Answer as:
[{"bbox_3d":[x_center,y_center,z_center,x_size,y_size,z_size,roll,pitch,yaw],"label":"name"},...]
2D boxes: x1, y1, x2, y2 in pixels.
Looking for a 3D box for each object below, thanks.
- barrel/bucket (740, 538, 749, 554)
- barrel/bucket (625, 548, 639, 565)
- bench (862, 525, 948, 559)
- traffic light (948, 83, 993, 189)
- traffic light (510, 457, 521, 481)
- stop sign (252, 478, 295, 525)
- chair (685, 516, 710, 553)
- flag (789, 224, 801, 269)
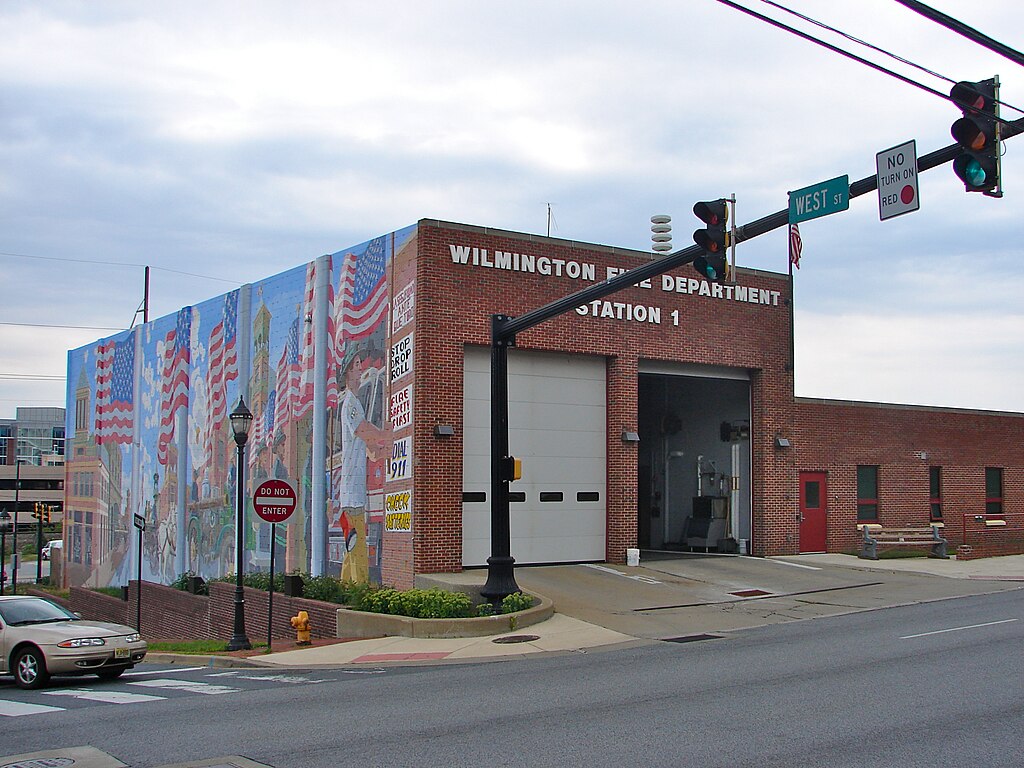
[{"bbox_3d":[7.433,5.168,32.856,0.301,0.466,0.199,-3,-3,26],"label":"barrel/bucket"},{"bbox_3d":[3.437,4.952,29.506,0.256,0.452,0.465,-4,-6,37],"label":"barrel/bucket"},{"bbox_3d":[13.021,5.208,34.352,3.779,1.204,1.608,0,-4,-27],"label":"bench"},{"bbox_3d":[6.321,-3.384,13.994,0.580,1.575,0.452,-3,-3,25],"label":"traffic light"},{"bbox_3d":[0.066,1.831,22.531,0.224,0.469,0.410,-2,-3,-11],"label":"traffic light"},{"bbox_3d":[-4.883,2.405,21.179,0.801,0.854,0.473,-1,-3,-18],"label":"stop sign"},{"bbox_3d":[6.291,5.059,34.635,0.559,1.034,1.043,7,-13,-25],"label":"chair"},{"bbox_3d":[4.505,-2.216,16.391,0.161,0.806,0.906,-3,-3,15],"label":"flag"}]
